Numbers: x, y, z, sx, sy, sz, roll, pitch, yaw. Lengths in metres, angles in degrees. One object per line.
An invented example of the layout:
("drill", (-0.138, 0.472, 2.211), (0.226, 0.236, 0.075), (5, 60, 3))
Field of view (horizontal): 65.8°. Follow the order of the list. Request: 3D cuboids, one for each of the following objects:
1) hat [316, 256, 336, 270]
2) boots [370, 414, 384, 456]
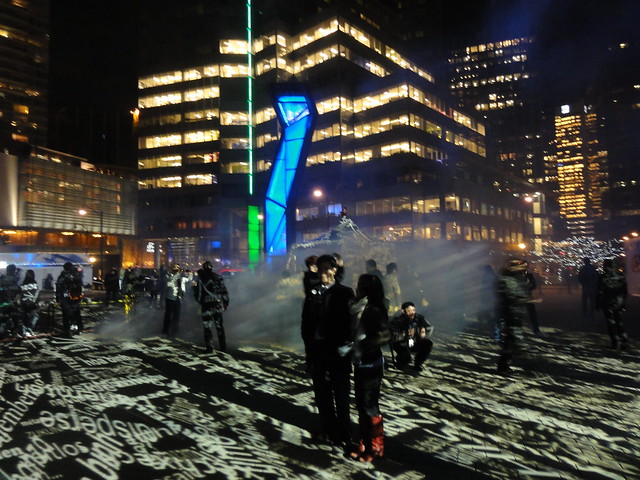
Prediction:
("hat", (0.129, 0.395, 8.304), (0.199, 0.257, 0.263), (3, 6, 44))
("boots", (0.904, 3.110, 7.854), (0.237, 0.671, 0.137), (4, -8, -41))
